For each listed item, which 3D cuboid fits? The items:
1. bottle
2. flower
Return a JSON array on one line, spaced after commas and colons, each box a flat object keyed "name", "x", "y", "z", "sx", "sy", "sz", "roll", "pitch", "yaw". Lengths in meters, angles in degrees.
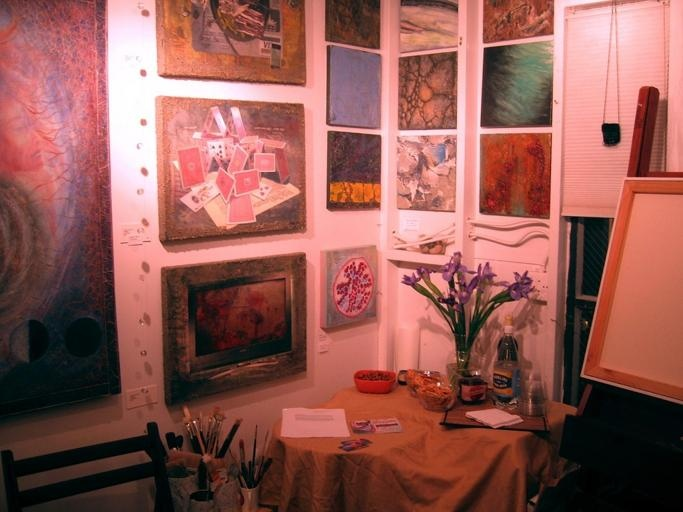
[{"name": "bottle", "x": 0.915, "y": 0.552, "z": 2.471, "sx": 0.242, "sy": 0.433, "sz": 0.399, "roll": 0, "pitch": 5, "yaw": -20}, {"name": "flower", "x": 0.638, "y": 0.217, "z": 2.625, "sx": 0.601, "sy": 0.613, "sz": 0.379, "roll": 6, "pitch": 11, "yaw": 31}]
